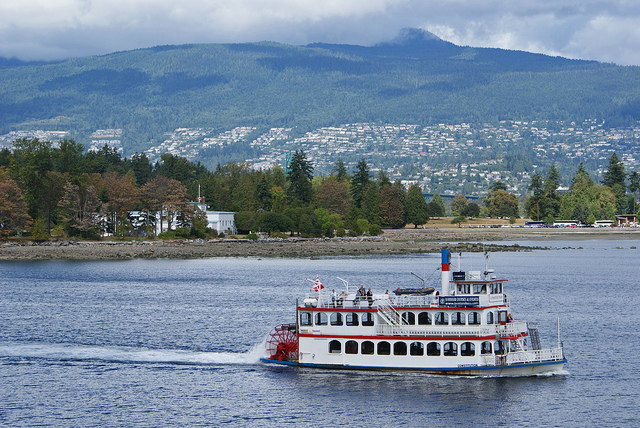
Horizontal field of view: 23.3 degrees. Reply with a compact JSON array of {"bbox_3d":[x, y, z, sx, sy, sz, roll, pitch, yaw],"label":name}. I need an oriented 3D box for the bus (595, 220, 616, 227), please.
[{"bbox_3d":[261.649,10.037,1442.428,17.962,5.352,5.711,-1,7,-1],"label":"bus"}]
